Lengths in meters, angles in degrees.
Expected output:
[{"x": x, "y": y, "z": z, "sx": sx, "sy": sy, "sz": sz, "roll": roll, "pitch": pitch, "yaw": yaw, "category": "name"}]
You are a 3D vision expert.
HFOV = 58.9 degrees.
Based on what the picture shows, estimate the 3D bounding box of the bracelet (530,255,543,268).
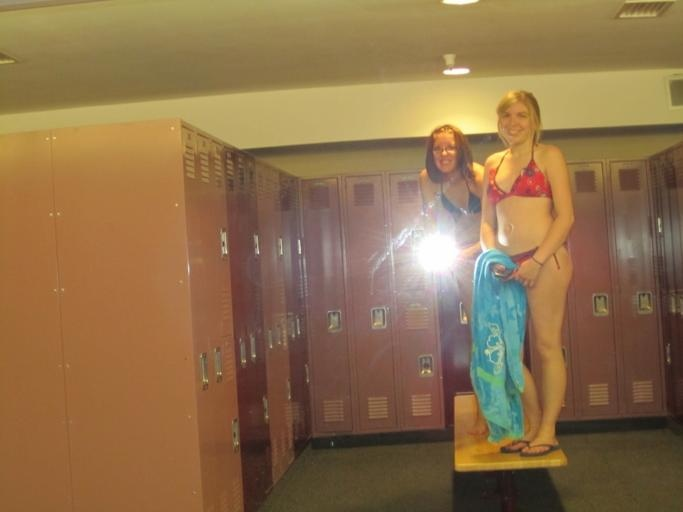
[{"x": 0.818, "y": 0.026, "z": 2.533, "sx": 0.039, "sy": 0.010, "sz": 0.040, "roll": 39, "pitch": 13, "yaw": 35, "category": "bracelet"}]

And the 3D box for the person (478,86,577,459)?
[{"x": 0.807, "y": 0.044, "z": 2.595, "sx": 0.383, "sy": 1.593, "sz": 0.270, "roll": -6, "pitch": 0, "yaw": 13, "category": "person"}]
